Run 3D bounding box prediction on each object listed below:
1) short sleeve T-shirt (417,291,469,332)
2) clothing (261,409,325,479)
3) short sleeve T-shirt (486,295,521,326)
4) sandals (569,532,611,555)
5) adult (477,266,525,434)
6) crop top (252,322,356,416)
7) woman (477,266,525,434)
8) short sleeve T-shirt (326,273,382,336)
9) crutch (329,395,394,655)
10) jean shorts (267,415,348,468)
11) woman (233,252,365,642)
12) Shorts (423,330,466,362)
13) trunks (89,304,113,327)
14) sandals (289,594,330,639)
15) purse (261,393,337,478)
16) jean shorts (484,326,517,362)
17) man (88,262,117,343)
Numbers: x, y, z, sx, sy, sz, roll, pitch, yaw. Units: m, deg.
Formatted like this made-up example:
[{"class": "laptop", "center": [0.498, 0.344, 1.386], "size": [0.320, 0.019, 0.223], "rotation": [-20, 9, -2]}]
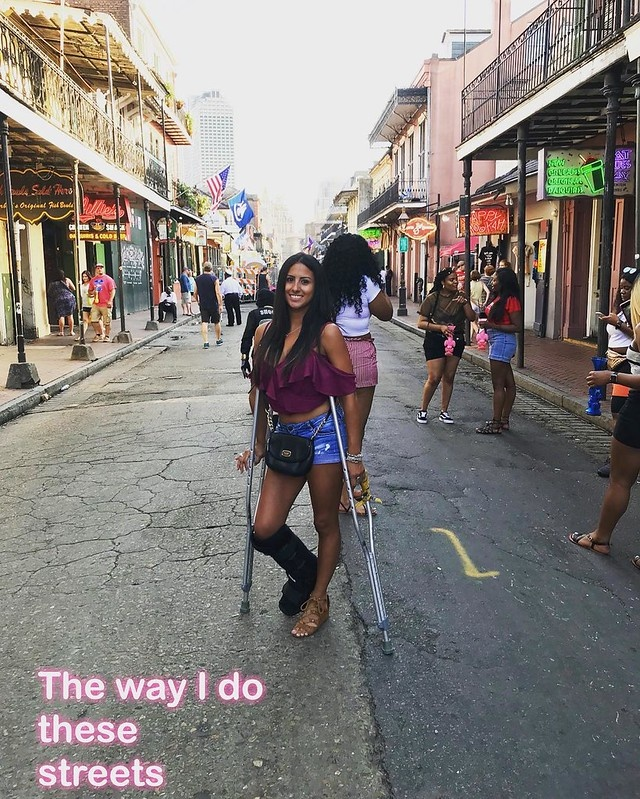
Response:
[{"class": "short sleeve T-shirt", "center": [1.426, -1.010, 6.971], "size": [0.648, 0.624, 0.402], "rotation": [2, -14, 0]}, {"class": "clothing", "center": [-0.116, 0.181, 2.555], "size": [0.209, 0.352, 0.158], "rotation": [9, -25, 6]}, {"class": "short sleeve T-shirt", "center": [2.107, -1.005, 6.755], "size": [0.240, 0.286, 0.158], "rotation": [-16, -41, 22]}, {"class": "sandals", "center": [1.690, 0.898, 3.729], "size": [0.192, 0.082, 0.099], "rotation": [26, 6, 39]}, {"class": "adult", "center": [2.086, -0.572, 6.867], "size": [0.445, 1.886, 0.649], "rotation": [2, 7, 20]}, {"class": "crop top", "center": [-0.048, -0.082, 2.659], "size": [0.480, 0.509, 0.324], "rotation": [3, -3, 21]}, {"class": "woman", "center": [2.090, -0.574, 6.879], "size": [0.454, 1.886, 0.668], "rotation": [1, 7, 19]}, {"class": "short sleeve T-shirt", "center": [0.213, -0.636, 3.854], "size": [0.246, 0.479, 0.466], "rotation": [6, 14, 33]}, {"class": "crutch", "center": [0.152, 0.448, 2.638], "size": [0.196, 1.269, 0.074], "rotation": [-8, -7, -22]}, {"class": "jean shorts", "center": [-0.054, 0.209, 2.656], "size": [0.309, 0.260, 0.254], "rotation": [-12, -11, 35]}, {"class": "woman", "center": [-0.085, 0.208, 2.647], "size": [0.531, 1.700, 0.437], "rotation": [1, 9, 10]}, {"class": "Shorts", "center": [1.461, -0.623, 6.939], "size": [0.476, 0.526, 0.302], "rotation": [0, 2, -3]}, {"class": "trunks", "center": [-5.869, -2.361, 15.962], "size": [0.684, 0.770, 0.429], "rotation": [2, 2, -5]}, {"class": "sandals", "center": [-0.043, 0.975, 2.694], "size": [0.081, 0.112, 0.256], "rotation": [0, 2, 24]}, {"class": "purse", "center": [-0.113, 0.175, 2.552], "size": [0.214, 0.355, 0.160], "rotation": [5, -23, 11]}, {"class": "jean shorts", "center": [2.151, -0.592, 7.017], "size": [0.302, 0.597, 0.538], "rotation": [5, 3, 12]}, {"class": "man", "center": [-5.837, -2.600, 15.891], "size": [0.639, 2.079, 0.670], "rotation": [-1, 4, -8]}]
